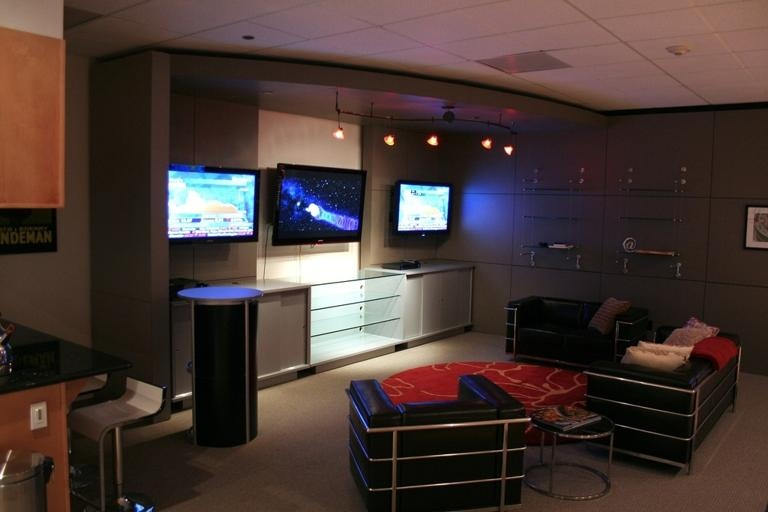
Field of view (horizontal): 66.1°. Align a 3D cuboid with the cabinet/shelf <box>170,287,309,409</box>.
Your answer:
[{"bbox_3d":[-1.742,1.082,6.907,0.588,1.008,1.631,1,3,30],"label":"cabinet/shelf"}]

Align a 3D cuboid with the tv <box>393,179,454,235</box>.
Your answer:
[{"bbox_3d":[0.663,-0.830,10.374,0.169,0.945,1.499,8,9,44],"label":"tv"}]

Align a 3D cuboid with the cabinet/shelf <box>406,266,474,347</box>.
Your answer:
[{"bbox_3d":[0.728,0.776,10.332,0.745,1.163,2.120,5,6,38],"label":"cabinet/shelf"}]

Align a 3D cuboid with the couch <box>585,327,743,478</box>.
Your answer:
[{"bbox_3d":[3.361,1.563,7.017,1.208,0.974,2.240,5,10,38],"label":"couch"}]

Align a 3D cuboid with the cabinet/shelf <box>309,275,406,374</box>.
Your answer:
[{"bbox_3d":[-0.459,0.947,8.752,0.626,0.871,1.685,-5,-1,44],"label":"cabinet/shelf"}]

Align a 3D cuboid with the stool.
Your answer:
[{"bbox_3d":[1.850,1.950,5.972,0.867,0.630,0.897,2,1,35],"label":"stool"}]

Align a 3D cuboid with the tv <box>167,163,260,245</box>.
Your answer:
[{"bbox_3d":[-2.200,-0.614,7.513,1.677,1.004,0.064,2,2,27],"label":"tv"}]

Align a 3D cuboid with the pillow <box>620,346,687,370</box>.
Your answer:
[{"bbox_3d":[2.925,1.111,6.384,0.354,0.098,0.356,1,8,41],"label":"pillow"}]

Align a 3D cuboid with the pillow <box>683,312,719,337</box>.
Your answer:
[{"bbox_3d":[4.031,0.892,7.552,0.421,0.116,0.419,0,11,-46],"label":"pillow"}]

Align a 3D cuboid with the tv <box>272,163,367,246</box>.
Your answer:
[{"bbox_3d":[-0.973,-0.759,8.823,0.178,1.162,1.837,10,9,39],"label":"tv"}]

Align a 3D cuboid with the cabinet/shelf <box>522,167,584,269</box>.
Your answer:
[{"bbox_3d":[2.853,-0.652,9.997,1.066,1.669,0.284,7,11,42],"label":"cabinet/shelf"}]
